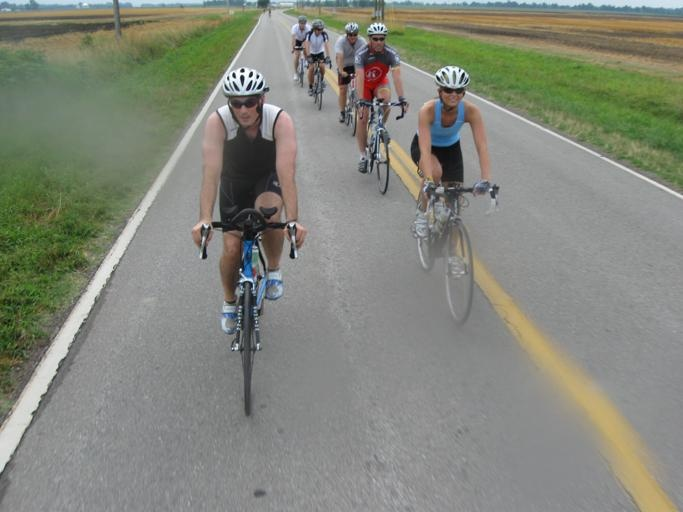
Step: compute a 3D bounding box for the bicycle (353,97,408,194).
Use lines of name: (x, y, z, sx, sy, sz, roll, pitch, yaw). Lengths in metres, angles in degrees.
bicycle: (0.620, -2.030, 9.392, 0.645, 1.142, 1.861, -2, 34, -4)

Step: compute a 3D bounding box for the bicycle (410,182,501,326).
bicycle: (1.174, -0.142, 5.741, 0.572, 1.378, 1.495, -3, 30, -4)

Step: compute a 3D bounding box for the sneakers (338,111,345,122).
sneakers: (0.011, -3.533, 13.430, 0.158, 0.278, 0.284, 2, 44, -8)

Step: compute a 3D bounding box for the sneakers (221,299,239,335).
sneakers: (-1.040, 0.588, 5.045, 0.111, 0.156, 0.417, -1, 53, -17)

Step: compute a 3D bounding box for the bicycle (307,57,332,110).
bicycle: (-0.695, -5.338, 15.872, 0.569, 1.051, 1.830, -1, 46, -6)

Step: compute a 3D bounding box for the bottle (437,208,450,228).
bottle: (1.064, -0.436, 5.681, 0.102, 0.164, 0.173, 2, 41, 1)

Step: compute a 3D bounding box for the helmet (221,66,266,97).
helmet: (-0.795, -1.447, 4.457, 0.345, 0.208, 0.294, -6, 31, -7)

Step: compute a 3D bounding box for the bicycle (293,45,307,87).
bicycle: (-1.460, -6.861, 19.366, 0.511, 0.697, 1.287, -2, 55, -7)

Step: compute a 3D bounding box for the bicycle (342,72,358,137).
bicycle: (0.239, -3.586, 12.938, 0.455, 0.688, 1.127, -1, 38, -6)

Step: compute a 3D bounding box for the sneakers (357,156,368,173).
sneakers: (0.381, -1.651, 9.699, 0.123, 0.169, 0.276, 1, 59, 1)

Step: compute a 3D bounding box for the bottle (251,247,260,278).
bottle: (-0.758, 0.048, 4.696, 0.077, 0.363, 0.086, -5, 32, -12)

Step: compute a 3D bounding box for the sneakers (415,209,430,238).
sneakers: (0.925, -0.372, 6.171, 0.194, 0.366, 0.181, 5, 20, 11)
